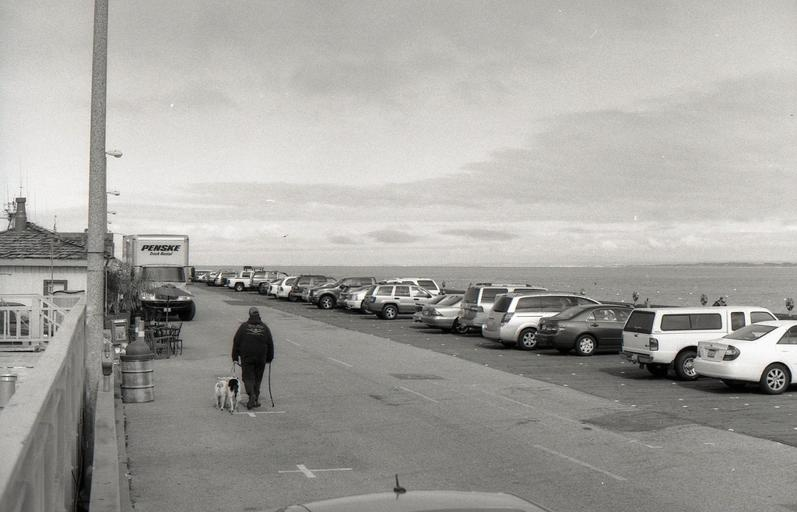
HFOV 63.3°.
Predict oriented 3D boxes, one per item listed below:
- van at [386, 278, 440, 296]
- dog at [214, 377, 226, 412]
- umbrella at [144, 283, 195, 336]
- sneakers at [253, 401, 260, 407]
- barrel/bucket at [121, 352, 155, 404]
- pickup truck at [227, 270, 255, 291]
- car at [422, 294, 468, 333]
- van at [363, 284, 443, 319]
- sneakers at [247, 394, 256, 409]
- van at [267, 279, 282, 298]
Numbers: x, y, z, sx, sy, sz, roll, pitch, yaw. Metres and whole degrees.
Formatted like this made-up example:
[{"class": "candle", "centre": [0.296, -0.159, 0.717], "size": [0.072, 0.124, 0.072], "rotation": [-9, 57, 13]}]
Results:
[{"class": "van", "centre": [1.268, 2.055, 40.955], "size": [2.655, 1.148, 1.344], "rotation": [-3, 7, -8]}, {"class": "dog", "centre": [-3.899, 3.013, 14.233], "size": [0.234, 0.680, 0.442], "rotation": [5, -1, -14]}, {"class": "umbrella", "centre": [-11.794, 2.539, 33.543], "size": [2.468, 1.691, 3.844], "rotation": [1, -4, -27]}, {"class": "sneakers", "centre": [-3.146, 3.268, 14.351], "size": [0.069, 0.115, 0.175], "rotation": [3, 13, 1]}, {"class": "barrel/bucket", "centre": [-5.939, 2.757, 14.747], "size": [0.755, 1.143, 0.642], "rotation": [5, -1, -18]}, {"class": "pickup truck", "centre": [-20.010, 3.110, 82.462], "size": [2.417, 2.460, 7.988], "rotation": [4, -1, -18]}, {"class": "car", "centre": [2.089, 2.793, 31.714], "size": [1.801, 1.517, 1.209], "rotation": [4, -1, 3]}, {"class": "van", "centre": [0.325, 2.653, 39.652], "size": [4.094, 1.474, 1.875], "rotation": [-5, 7, -20]}, {"class": "sneakers", "centre": [-3.234, 3.182, 14.203], "size": [0.135, 0.343, 0.137], "rotation": [0, -5, 5]}, {"class": "van", "centre": [-11.746, 3.131, 61.004], "size": [1.416, 0.981, 2.939], "rotation": [0, 6, 1]}]
